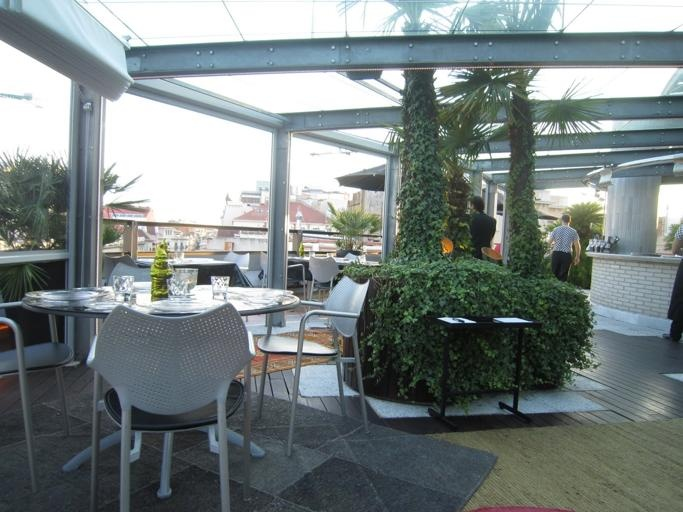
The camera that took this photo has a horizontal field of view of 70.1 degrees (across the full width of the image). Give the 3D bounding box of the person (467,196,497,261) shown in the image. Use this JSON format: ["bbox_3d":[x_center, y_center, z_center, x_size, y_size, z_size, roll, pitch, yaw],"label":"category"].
[{"bbox_3d":[1.818,-0.357,6.318,0.316,0.817,0.914,5,9,16],"label":"person"}]

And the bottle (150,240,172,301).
[{"bbox_3d":[-1.119,0.095,3.037,0.120,0.345,0.325,-1,9,-21],"label":"bottle"}]

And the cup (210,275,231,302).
[{"bbox_3d":[-0.777,0.217,3.104,0.148,0.155,0.143,2,-4,0],"label":"cup"}]

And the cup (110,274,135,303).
[{"bbox_3d":[-1.314,0.201,2.980,0.162,0.186,0.161,1,-1,0],"label":"cup"}]

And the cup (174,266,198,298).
[{"bbox_3d":[-1.003,0.175,3.121,0.171,0.195,0.182,1,1,0],"label":"cup"}]

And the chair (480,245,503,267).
[{"bbox_3d":[1.946,-0.002,6.347,0.247,0.212,0.418,6,9,18],"label":"chair"}]
